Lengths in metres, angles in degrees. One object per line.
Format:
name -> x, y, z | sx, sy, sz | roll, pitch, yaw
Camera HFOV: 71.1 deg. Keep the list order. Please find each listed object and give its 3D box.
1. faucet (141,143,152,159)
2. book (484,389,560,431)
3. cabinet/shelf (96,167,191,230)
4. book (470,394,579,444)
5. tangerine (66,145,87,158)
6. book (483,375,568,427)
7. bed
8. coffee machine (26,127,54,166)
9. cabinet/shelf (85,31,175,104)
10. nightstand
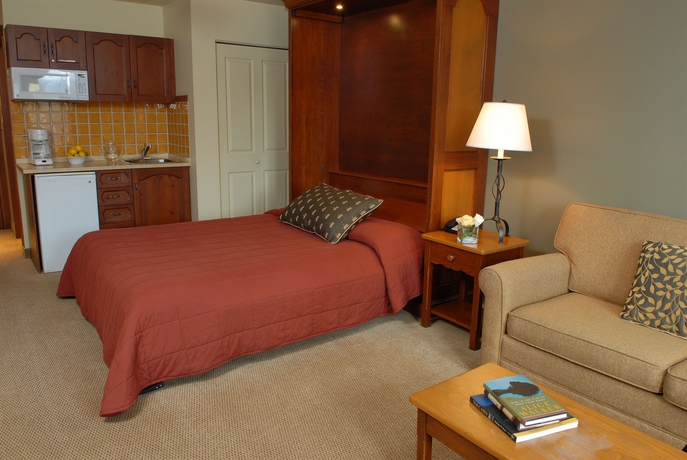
faucet -> -2.525, -1.009, 6.165 | 0.108, 0.152, 0.220 | -6, 18, -14
book -> 0.988, 0.939, 2.568 | 0.329, 0.060, 0.325 | -3, 7, -25
cabinet/shelf -> -2.389, -0.430, 5.842 | 1.132, 1.093, 0.655 | -6, 13, -31
book -> 0.842, 0.977, 2.476 | 0.254, 0.038, 0.255 | -5, 12, -27
tangerine -> -3.159, -0.929, 5.698 | 0.187, 0.084, 0.189 | 29, 27, 29
book -> 0.928, 0.833, 2.491 | 0.234, 0.060, 0.243 | -8, 20, -21
bed -> -0.719, 0.320, 3.747 | 2.006, 0.679, 1.606 | -5, 17, -29
coffee machine -> -3.436, -0.943, 5.436 | 0.268, 0.382, 0.488 | -12, 21, -30
cabinet/shelf -> -2.550, -1.934, 5.668 | 0.804, 0.700, 0.308 | -6, 15, -30
nightstand -> 1.079, 0.497, 4.099 | 0.649, 0.855, 0.701 | 12, 15, 37
